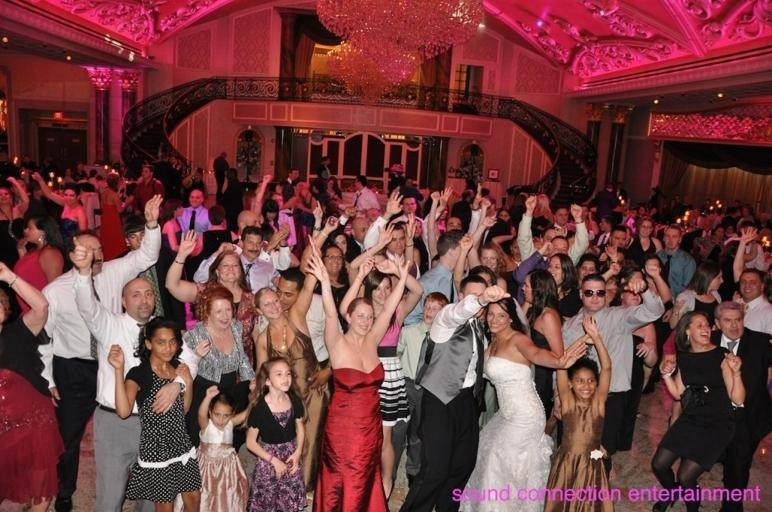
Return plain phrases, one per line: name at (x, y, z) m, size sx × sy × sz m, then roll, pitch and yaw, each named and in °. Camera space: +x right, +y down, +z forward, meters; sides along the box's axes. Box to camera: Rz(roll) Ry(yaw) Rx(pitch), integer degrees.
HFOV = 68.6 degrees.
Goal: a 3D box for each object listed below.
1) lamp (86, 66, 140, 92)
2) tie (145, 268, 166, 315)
lamp at (-9.242, -6.047, 19.298) m, size 0.363 × 0.524 × 1.084 m, roll 3°, pitch 8°, yaw 22°
tie at (-2.333, 0.351, 5.707) m, size 0.164 × 0.471 × 0.272 m, roll -2°, pitch 10°, yaw -43°
